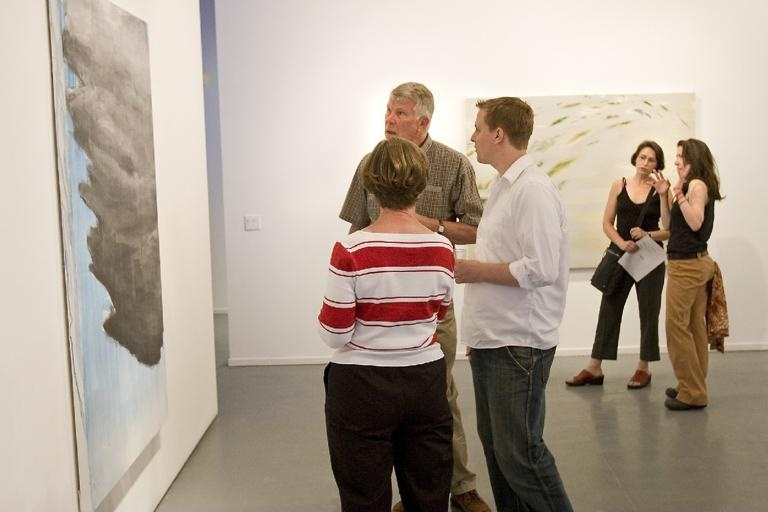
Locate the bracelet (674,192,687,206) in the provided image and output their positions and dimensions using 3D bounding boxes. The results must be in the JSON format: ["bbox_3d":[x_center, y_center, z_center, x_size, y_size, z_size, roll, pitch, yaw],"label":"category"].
[{"bbox_3d":[2.286,-0.425,4.399,0.078,0.104,0.037,0,-13,-18],"label":"bracelet"}]

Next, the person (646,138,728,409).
[{"bbox_3d":[2.408,0.142,4.373,0.458,2.008,0.612,5,13,27],"label":"person"}]

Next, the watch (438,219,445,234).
[{"bbox_3d":[0.326,-0.155,3.248,0.039,0.071,0.067,1,4,1],"label":"watch"}]

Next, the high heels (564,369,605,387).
[{"bbox_3d":[1.740,1.065,4.985,0.343,0.147,0.129,2,-2,0],"label":"high heels"}]

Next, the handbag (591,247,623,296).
[{"bbox_3d":[1.924,0.125,4.917,0.122,0.418,0.245,-9,14,-34],"label":"handbag"}]

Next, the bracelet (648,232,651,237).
[{"bbox_3d":[2.229,-0.173,4.796,0.016,0.052,0.036,0,17,41],"label":"bracelet"}]

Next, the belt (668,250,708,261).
[{"bbox_3d":[2.332,-0.004,4.400,0.270,0.104,0.090,4,12,25],"label":"belt"}]

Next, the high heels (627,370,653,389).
[{"bbox_3d":[2.169,1.050,4.839,0.100,0.110,0.275,-10,-10,41],"label":"high heels"}]
